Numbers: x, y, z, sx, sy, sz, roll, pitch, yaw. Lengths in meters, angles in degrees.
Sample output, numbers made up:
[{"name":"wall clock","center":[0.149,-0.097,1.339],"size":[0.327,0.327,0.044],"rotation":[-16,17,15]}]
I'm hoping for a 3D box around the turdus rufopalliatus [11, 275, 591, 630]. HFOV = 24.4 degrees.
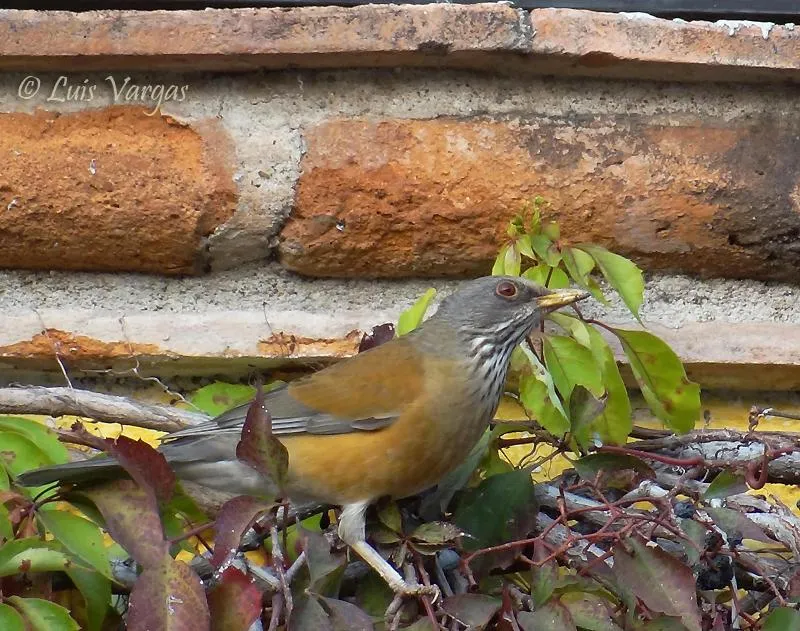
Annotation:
[{"name":"turdus rufopalliatus","center":[-0.235,0.271,4.443],"size":[1.363,0.621,0.344],"rotation":[-4,-6,13]}]
